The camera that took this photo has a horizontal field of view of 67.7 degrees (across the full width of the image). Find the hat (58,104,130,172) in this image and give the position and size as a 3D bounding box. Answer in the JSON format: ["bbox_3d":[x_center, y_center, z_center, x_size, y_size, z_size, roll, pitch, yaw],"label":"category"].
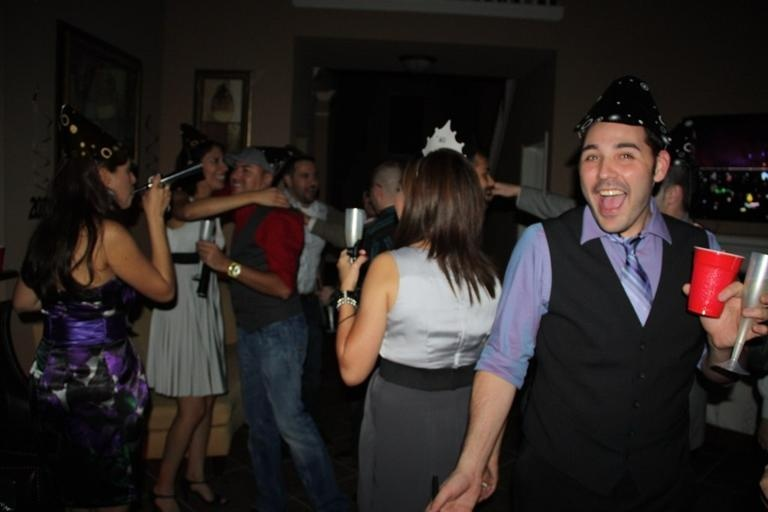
[{"bbox_3d":[-1.597,-0.611,3.084,0.384,0.264,0.137,30,-10,-10],"label":"hat"}]

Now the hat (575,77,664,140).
[{"bbox_3d":[1.006,-0.609,2.468,0.294,0.204,0.281,7,0,41],"label":"hat"}]

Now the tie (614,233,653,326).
[{"bbox_3d":[1.053,0.099,2.385,0.118,0.369,0.031,-1,-31,8],"label":"tie"}]

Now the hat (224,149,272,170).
[{"bbox_3d":[-0.932,-0.658,3.908,0.279,0.105,0.185,11,-2,-31],"label":"hat"}]
